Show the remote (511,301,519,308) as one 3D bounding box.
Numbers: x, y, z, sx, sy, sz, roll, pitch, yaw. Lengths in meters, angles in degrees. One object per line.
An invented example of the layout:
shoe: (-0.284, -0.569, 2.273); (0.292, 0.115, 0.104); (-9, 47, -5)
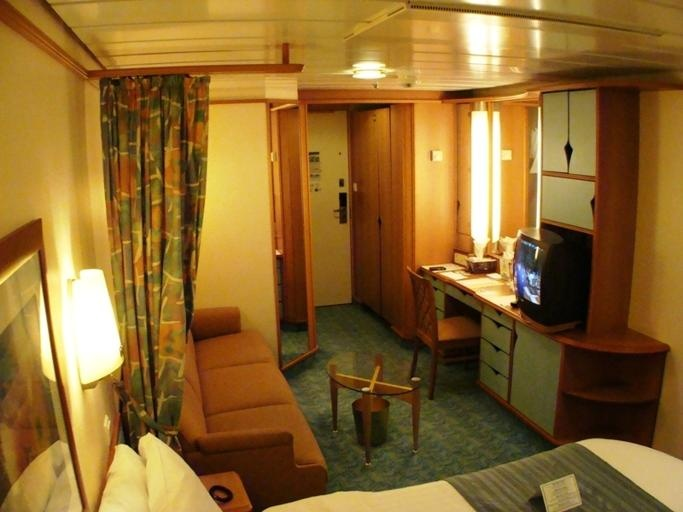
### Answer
remote: (1.370, 0.383, 4.321); (0.045, 0.029, 0.081); (2, 9, 15)

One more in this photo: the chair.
chair: (0.945, 0.710, 4.962); (0.777, 1.250, 0.747); (-7, 16, -12)

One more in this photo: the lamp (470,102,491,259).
lamp: (1.307, -0.669, 5.134); (0.155, 1.382, 0.200); (3, 15, 37)

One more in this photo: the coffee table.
coffee table: (0.259, 1.170, 4.194); (0.705, 0.556, 0.720); (8, 8, 28)

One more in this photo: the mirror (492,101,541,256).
mirror: (1.610, -0.792, 5.033); (0.390, 1.238, 0.312); (-2, 12, 19)

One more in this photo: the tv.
tv: (1.532, 0.155, 3.929); (0.411, 0.750, 0.533); (-9, 17, -20)
